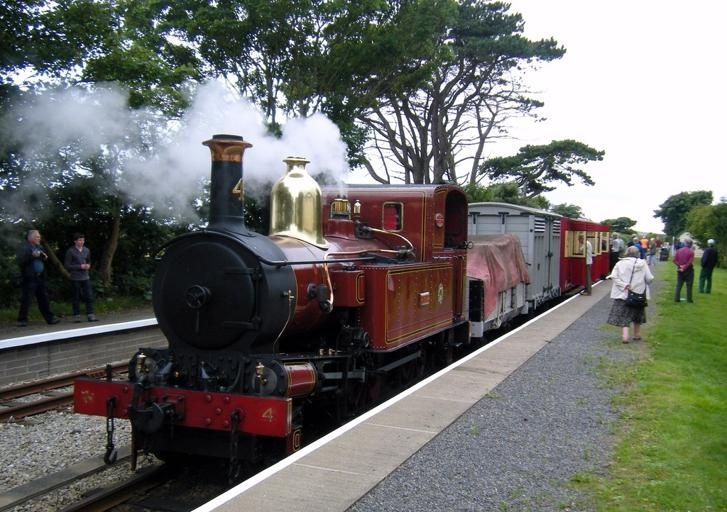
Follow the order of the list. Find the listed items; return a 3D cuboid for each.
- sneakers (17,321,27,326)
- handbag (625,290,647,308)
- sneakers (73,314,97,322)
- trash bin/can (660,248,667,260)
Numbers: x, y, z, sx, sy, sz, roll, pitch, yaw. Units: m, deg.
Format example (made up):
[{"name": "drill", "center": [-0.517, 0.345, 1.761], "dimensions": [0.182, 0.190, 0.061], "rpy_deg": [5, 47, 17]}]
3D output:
[{"name": "sneakers", "center": [-7.168, 1.424, 10.757], "dimensions": [0.190, 0.083, 0.067], "rpy_deg": [-3, -1, 32]}, {"name": "handbag", "center": [5.349, 0.822, 10.058], "dimensions": [0.268, 0.345, 0.151], "rpy_deg": [7, 19, 11]}, {"name": "sneakers", "center": [-6.466, 1.441, 11.846], "dimensions": [0.472, 0.201, 0.159], "rpy_deg": [-3, 2, 1]}, {"name": "trash bin/can", "center": [24.354, -0.137, 41.571], "dimensions": [0.508, 0.642, 0.905], "rpy_deg": [6, 8, 27]}]
